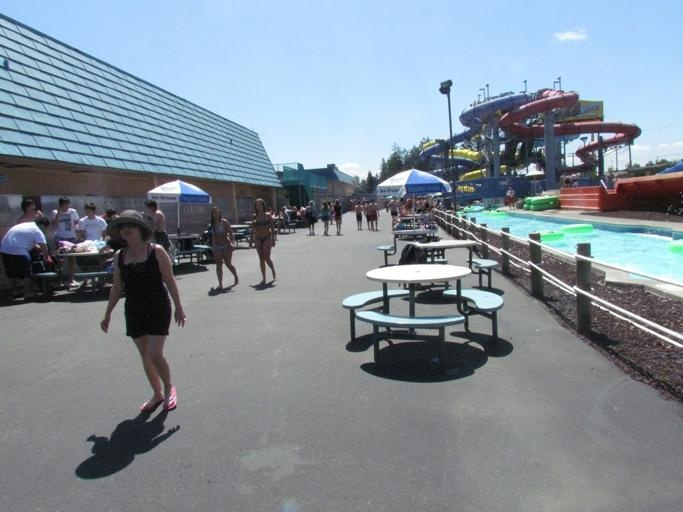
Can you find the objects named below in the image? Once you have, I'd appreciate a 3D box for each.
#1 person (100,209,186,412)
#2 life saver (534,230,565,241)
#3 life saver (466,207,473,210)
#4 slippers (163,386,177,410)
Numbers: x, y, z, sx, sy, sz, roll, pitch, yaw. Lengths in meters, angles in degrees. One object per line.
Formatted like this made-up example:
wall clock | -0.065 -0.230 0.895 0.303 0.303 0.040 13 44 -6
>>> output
person | -2.067 0.569 5.206 0.757 2.087 0.479 3 12 24
life saver | 8.227 -0.803 19.806 1.288 0.276 0.676 -12 16 -36
life saver | 13.057 -4.968 51.053 0.372 0.144 0.561 -13 20 -17
slippers | -1.822 1.518 5.280 0.082 0.064 0.246 -22 49 21
